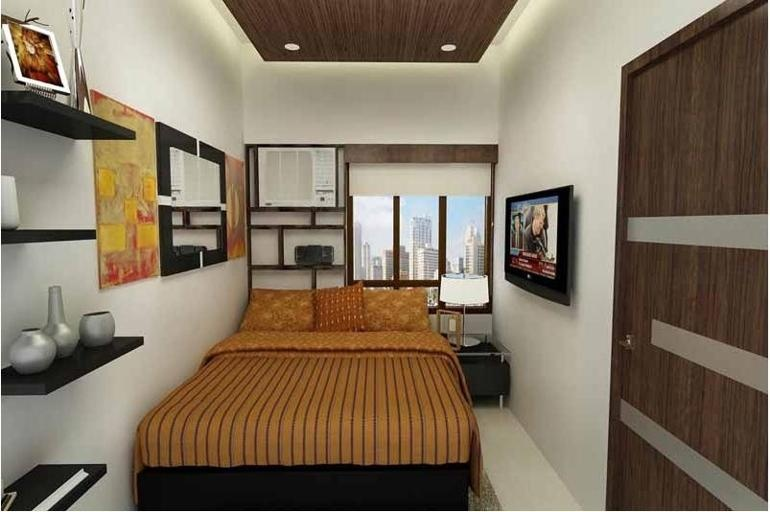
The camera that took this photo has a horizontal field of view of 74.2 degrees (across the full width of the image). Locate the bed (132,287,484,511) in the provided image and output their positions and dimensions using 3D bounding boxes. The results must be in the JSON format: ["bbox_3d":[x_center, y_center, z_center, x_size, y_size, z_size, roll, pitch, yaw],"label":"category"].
[{"bbox_3d":[-0.415,1.101,3.638,2.141,0.799,1.453,2,6,8],"label":"bed"}]

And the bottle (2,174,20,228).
[{"bbox_3d":[-1.720,-0.243,2.325,0.060,0.236,0.060,1,5,0],"label":"bottle"}]

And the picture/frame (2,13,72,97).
[{"bbox_3d":[-1.680,-0.957,2.439,0.231,0.339,0.175,1,5,0],"label":"picture/frame"}]

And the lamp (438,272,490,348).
[{"bbox_3d":[0.695,0.474,4.496,0.408,0.653,0.434,-3,-13,27],"label":"lamp"}]

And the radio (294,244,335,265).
[{"bbox_3d":[-0.677,-0.010,4.990,0.315,0.189,0.081,-2,-3,-1],"label":"radio"}]

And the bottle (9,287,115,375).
[{"bbox_3d":[-1.666,0.380,2.591,0.178,0.349,0.472,-4,0,15],"label":"bottle"}]
